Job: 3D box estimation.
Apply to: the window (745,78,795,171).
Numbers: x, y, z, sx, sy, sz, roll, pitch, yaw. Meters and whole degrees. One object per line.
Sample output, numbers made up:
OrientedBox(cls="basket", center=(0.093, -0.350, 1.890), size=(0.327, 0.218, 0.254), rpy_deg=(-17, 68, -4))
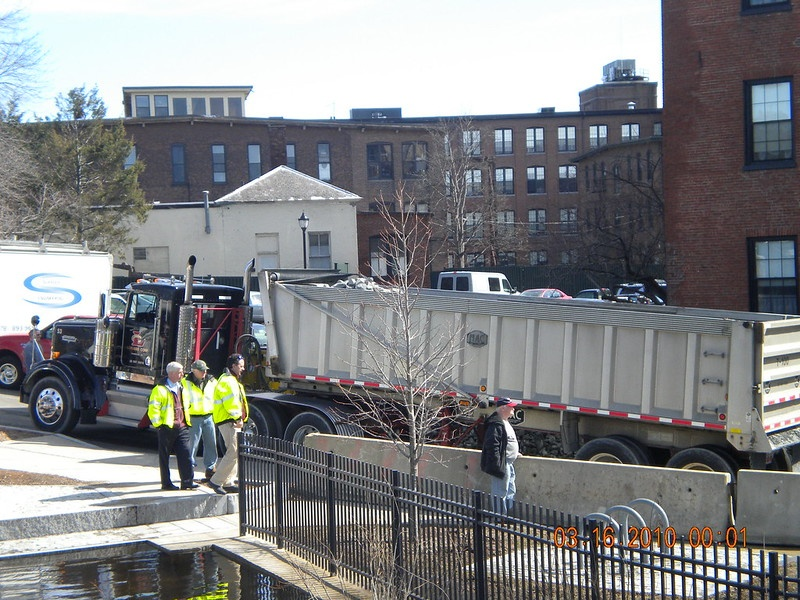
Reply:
OrientedBox(cls="window", center=(9.352, -4.528, 32.403), size=(1.110, 2.194, 0.152), rpy_deg=(-1, 0, 25))

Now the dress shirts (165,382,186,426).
OrientedBox(cls="dress shirts", center=(-4.292, 2.003, 24.769), size=(0.396, 0.757, 0.211), rpy_deg=(0, -3, -37))

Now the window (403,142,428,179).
OrientedBox(cls="window", center=(0.837, -7.497, 69.350), size=(1.879, 2.749, 0.274), rpy_deg=(1, -9, -11))

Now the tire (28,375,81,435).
OrientedBox(cls="tire", center=(-7.515, 2.273, 28.100), size=(1.112, 1.237, 0.411), rpy_deg=(5, 0, 29))

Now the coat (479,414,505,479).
OrientedBox(cls="coat", center=(1.655, 2.564, 22.442), size=(0.456, 1.145, 0.334), rpy_deg=(-1, 0, 3))

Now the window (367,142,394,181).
OrientedBox(cls="window", center=(-1.055, -7.391, 68.684), size=(1.858, 2.697, 0.128), rpy_deg=(-1, -2, -21))

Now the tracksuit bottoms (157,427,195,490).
OrientedBox(cls="tracksuit bottoms", center=(-4.248, 3.005, 24.516), size=(0.624, 1.154, 0.379), rpy_deg=(-1, 0, -15))

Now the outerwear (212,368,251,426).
OrientedBox(cls="outerwear", center=(-3.357, 1.928, 25.255), size=(0.613, 1.028, 1.099), rpy_deg=(1, -4, -15))

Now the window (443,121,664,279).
OrientedBox(cls="window", center=(7.301, -4.930, 64.448), size=(8.426, 8.643, 4.779), rpy_deg=(0, 3, 16))

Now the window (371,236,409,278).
OrientedBox(cls="window", center=(-0.392, -1.663, 47.576), size=(0.046, 1.621, 2.094), rpy_deg=(1, -2, -36))
